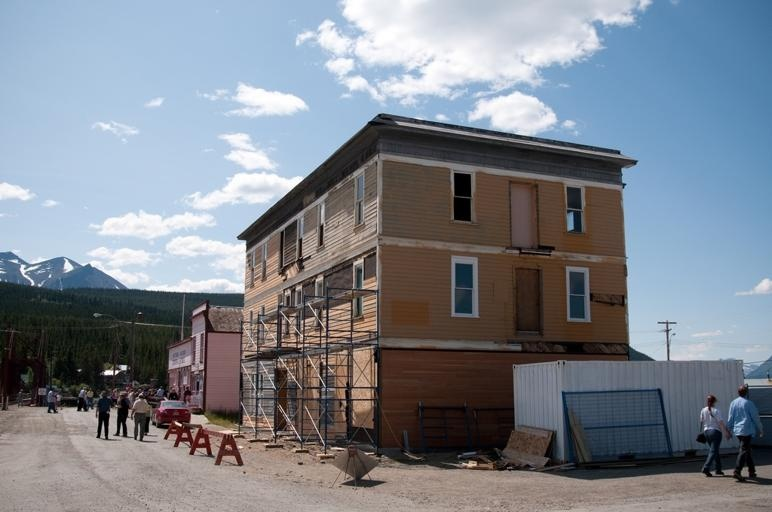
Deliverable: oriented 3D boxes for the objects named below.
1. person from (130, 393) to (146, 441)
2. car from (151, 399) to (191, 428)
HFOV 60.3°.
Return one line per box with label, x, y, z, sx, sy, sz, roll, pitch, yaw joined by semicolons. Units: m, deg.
person;-12.225;7.990;32.987;0.601;2.257;1.562;3;-15;-21
car;-13.165;9.649;40.868;1.414;1.629;4.031;6;-16;-29
